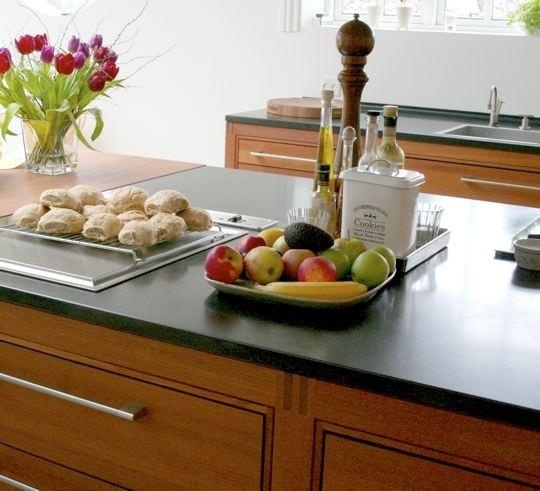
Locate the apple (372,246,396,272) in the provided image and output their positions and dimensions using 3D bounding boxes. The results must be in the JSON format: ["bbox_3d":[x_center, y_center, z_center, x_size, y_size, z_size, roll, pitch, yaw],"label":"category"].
[{"bbox_3d":[0.195,0.025,0.867,0.032,0.036,0.028,-21,45,29],"label":"apple"}]

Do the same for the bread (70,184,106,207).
[{"bbox_3d":[-0.426,-0.119,1.189,0.070,0.032,0.054,17,12,-19],"label":"bread"}]

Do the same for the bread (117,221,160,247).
[{"bbox_3d":[-0.263,-0.033,0.993,0.064,0.033,0.062,18,26,34],"label":"bread"}]

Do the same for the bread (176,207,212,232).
[{"bbox_3d":[-0.170,-0.057,1.108,0.066,0.025,0.054,-3,25,-35],"label":"bread"}]

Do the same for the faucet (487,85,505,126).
[{"bbox_3d":[1.316,-0.829,2.943,0.087,0.250,0.372,8,16,22],"label":"faucet"}]

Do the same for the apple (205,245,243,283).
[{"bbox_3d":[-0.075,0.033,0.821,0.047,0.046,0.046,-41,9,23],"label":"apple"}]

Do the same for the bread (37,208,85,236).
[{"bbox_3d":[-0.444,-0.049,1.064,0.096,0.053,0.067,-5,16,-21],"label":"bread"}]

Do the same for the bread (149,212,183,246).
[{"bbox_3d":[-0.216,-0.035,1.036,0.062,0.023,0.072,0,20,-6],"label":"bread"}]

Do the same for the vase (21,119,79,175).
[{"bbox_3d":[-0.746,-0.325,1.705,0.204,0.202,0.200,7,10,41],"label":"vase"}]

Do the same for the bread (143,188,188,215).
[{"bbox_3d":[-0.230,-0.105,1.123,0.074,0.038,0.071,5,15,20],"label":"bread"}]

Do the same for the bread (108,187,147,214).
[{"bbox_3d":[-0.330,-0.103,1.155,0.072,0.041,0.081,-1,8,-21],"label":"bread"}]

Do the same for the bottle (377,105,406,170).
[{"bbox_3d":[0.243,-0.229,1.058,0.064,0.129,0.059,1,21,-1],"label":"bottle"}]

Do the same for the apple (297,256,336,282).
[{"bbox_3d":[0.071,0.040,0.791,0.050,0.039,0.046,-8,9,-23],"label":"apple"}]

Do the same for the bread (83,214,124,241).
[{"bbox_3d":[-0.336,-0.038,1.024,0.069,0.036,0.064,11,28,15],"label":"bread"}]

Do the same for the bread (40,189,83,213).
[{"bbox_3d":[-0.458,-0.100,1.099,0.077,0.023,0.053,17,8,19],"label":"bread"}]

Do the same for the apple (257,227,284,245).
[{"bbox_3d":[0.002,-0.019,0.984,0.050,0.025,0.030,-17,20,-41],"label":"apple"}]

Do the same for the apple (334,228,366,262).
[{"bbox_3d":[0.144,0.000,0.895,0.051,0.041,0.049,-21,23,-33],"label":"apple"}]

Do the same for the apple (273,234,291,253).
[{"bbox_3d":[0.014,-0.002,0.932,0.034,0.033,0.030,4,-26,-8],"label":"apple"}]

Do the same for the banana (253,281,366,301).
[{"bbox_3d":[0.060,0.070,0.769,0.174,0.022,0.047,2,14,5],"label":"banana"}]
